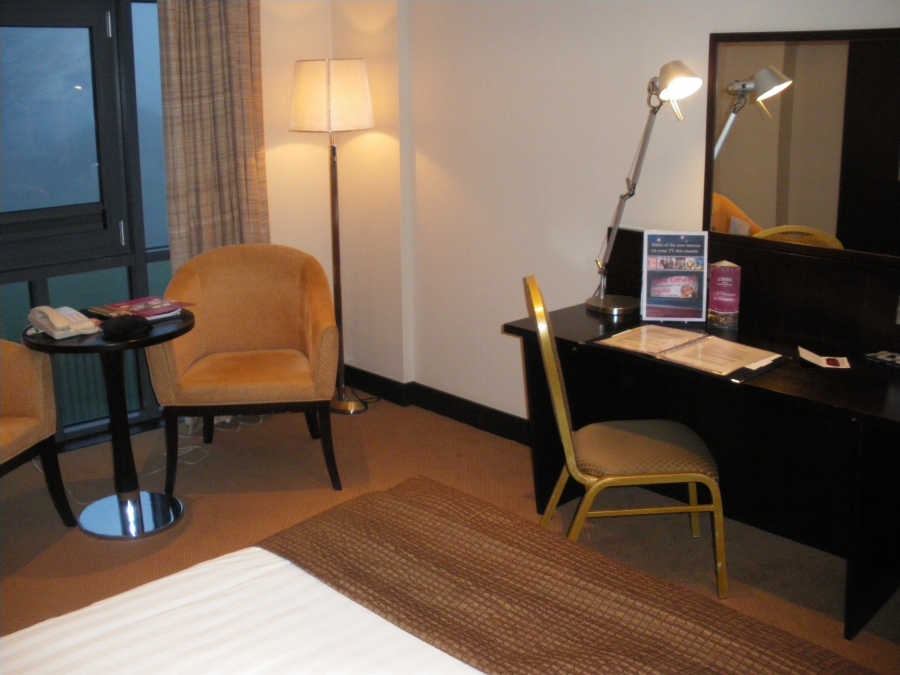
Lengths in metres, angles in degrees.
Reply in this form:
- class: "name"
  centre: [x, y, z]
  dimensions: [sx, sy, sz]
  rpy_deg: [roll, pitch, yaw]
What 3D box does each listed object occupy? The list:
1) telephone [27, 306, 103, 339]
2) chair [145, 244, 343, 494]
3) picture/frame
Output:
- class: "telephone"
  centre: [-1.522, -0.058, 2.881]
  dimensions: [0.180, 0.060, 0.179]
  rpy_deg: [-14, 30, -40]
- class: "chair"
  centre: [-0.968, 0.085, 3.726]
  dimensions: [1.074, 1.294, 1.092]
  rpy_deg: [-1, 8, -11]
- class: "picture/frame"
  centre: [0.916, -0.244, 2.940]
  dimensions: [0.364, 0.490, 0.027]
  rpy_deg: [1, 7, 6]
